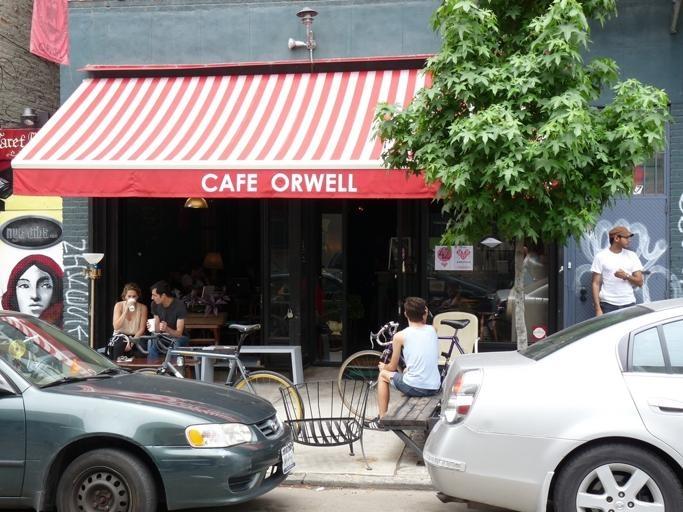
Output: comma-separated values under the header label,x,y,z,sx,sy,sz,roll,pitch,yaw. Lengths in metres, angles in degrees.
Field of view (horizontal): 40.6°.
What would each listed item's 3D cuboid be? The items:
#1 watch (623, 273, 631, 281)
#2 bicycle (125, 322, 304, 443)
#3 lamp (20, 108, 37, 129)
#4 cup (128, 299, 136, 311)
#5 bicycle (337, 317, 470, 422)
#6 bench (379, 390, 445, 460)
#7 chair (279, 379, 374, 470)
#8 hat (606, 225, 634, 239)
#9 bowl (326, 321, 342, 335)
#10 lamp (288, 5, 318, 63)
label,x,y,z,sx,sy,sz,roll,pitch,yaw
watch,3.726,0.263,12.023,0.058,0.082,0.025,3,0,-10
bicycle,-1.683,1.552,11.010,2.503,1.606,0.978,-4,6,25
lamp,-5.282,-2.327,15.616,0.246,0.338,0.768,1,11,-18
cup,-2.754,0.627,12.096,0.122,0.137,0.139,-4,-44,-5
bicycle,0.775,1.325,11.705,1.832,1.178,0.919,-2,-4,8
bench,0.948,1.888,10.393,0.657,0.529,2.178,-13,-4,9
chair,-0.126,1.989,10.499,1.066,1.201,0.819,-1,-4,-5
hat,3.668,-0.318,12.093,0.241,0.131,0.183,-2,1,14
bowl,-0.114,1.140,14.732,0.183,0.207,0.229,7,-17,-25
lamp,-0.556,-3.228,13.449,0.492,0.769,0.368,8,12,18
